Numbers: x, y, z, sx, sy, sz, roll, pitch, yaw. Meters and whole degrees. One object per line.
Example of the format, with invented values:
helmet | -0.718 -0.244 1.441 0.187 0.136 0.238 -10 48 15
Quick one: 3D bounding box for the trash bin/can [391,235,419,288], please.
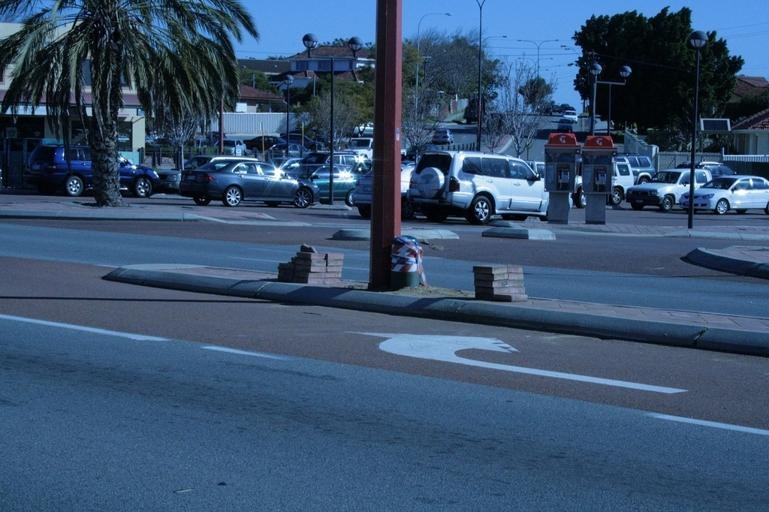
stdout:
trash bin/can | 0.348 0.095 12.901 0.478 0.785 0.338 1 11 0
